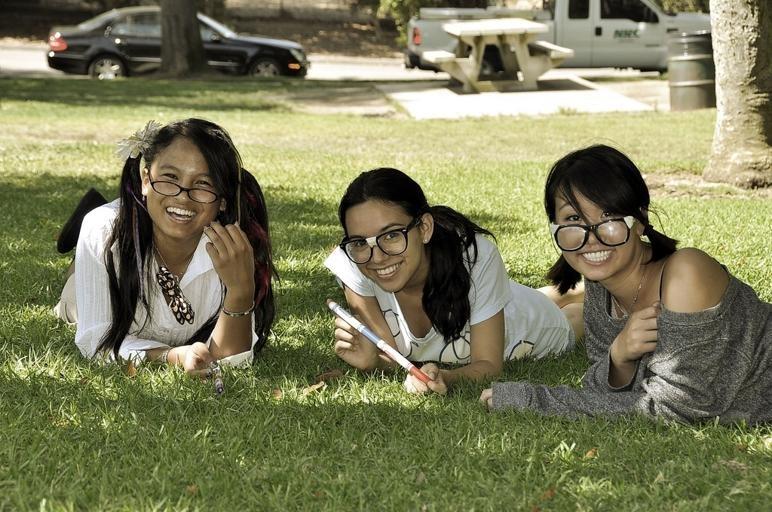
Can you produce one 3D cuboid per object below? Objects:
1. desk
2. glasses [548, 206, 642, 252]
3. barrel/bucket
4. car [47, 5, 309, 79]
[{"bbox_3d":[1.809,-3.739,15.750,1.691,0.853,1.447,-6,17,-8],"label":"desk"},{"bbox_3d":[1.137,-0.121,4.735,0.465,0.215,0.115,3,10,14],"label":"glasses"},{"bbox_3d":[4.859,-2.948,13.627,0.730,1.236,0.959,4,10,20],"label":"barrel/bucket"},{"bbox_3d":[-4.345,-4.565,18.668,5.376,1.660,2.104,-4,16,-12],"label":"car"}]
